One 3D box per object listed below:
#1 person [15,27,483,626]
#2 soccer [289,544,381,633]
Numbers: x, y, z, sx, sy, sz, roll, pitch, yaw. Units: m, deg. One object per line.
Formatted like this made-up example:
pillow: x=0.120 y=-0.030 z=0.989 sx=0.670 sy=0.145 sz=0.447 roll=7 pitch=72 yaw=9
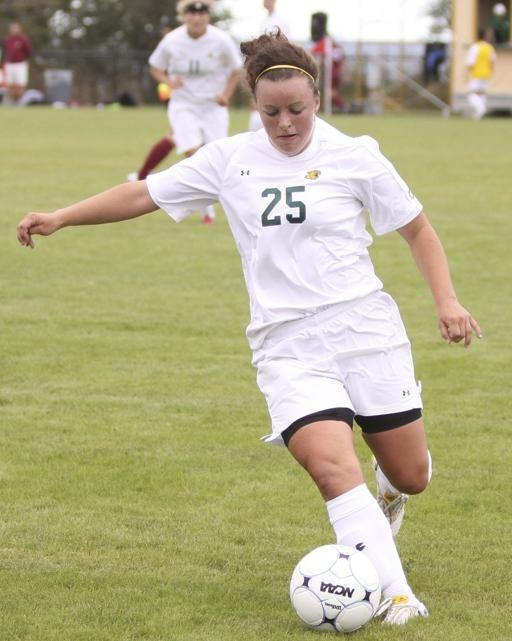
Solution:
person: x=0.171 y=-0.022 z=3.084 sx=0.564 sy=1.649 sz=0.945 roll=-12 pitch=14 yaw=-42
soccer: x=0.215 y=0.736 z=2.803 sx=0.242 sy=0.227 sz=0.107 roll=-1 pitch=10 yaw=4
